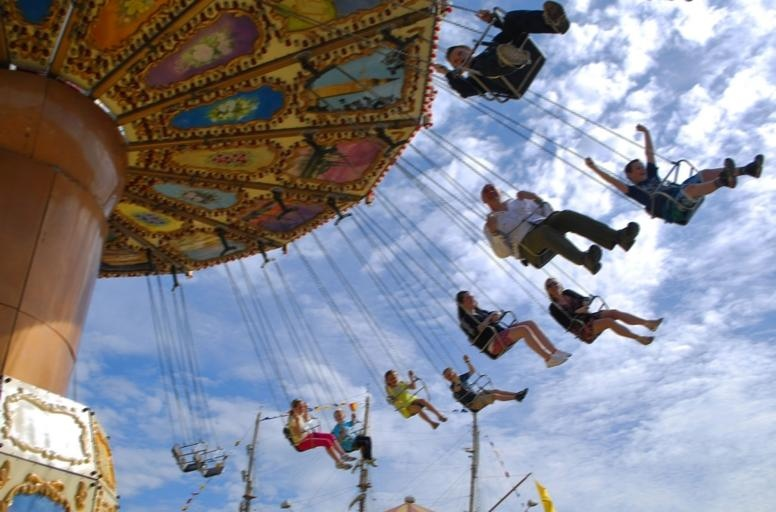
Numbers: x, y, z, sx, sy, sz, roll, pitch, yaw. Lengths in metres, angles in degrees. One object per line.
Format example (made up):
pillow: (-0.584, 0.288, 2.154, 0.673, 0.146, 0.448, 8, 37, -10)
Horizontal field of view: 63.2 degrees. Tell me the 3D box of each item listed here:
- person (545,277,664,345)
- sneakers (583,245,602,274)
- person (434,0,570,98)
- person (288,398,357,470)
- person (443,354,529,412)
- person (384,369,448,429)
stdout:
person: (3.380, 0.869, 9.826, 1.649, 0.584, 0.795, 4, -60, 22)
sneakers: (2.631, 0.043, 8.051, 0.286, 0.380, 0.223, 1, -14, 6)
person: (1.738, -3.051, 9.513, 1.021, 0.919, 1.860, 1, -29, -30)
person: (-1.709, 3.975, 14.072, 0.659, 1.491, 1.089, -36, -34, 19)
person: (1.741, 2.262, 11.082, 1.540, 0.749, 0.551, -2, 1, 15)
person: (0.516, 2.836, 12.620, 0.670, 1.251, 1.201, -10, -30, -20)
